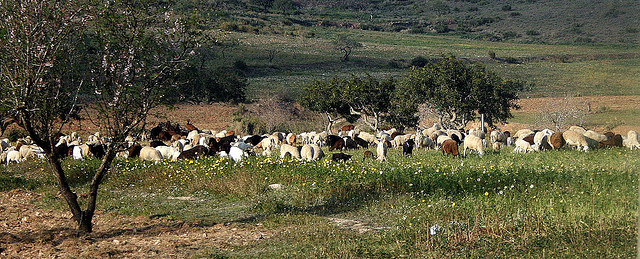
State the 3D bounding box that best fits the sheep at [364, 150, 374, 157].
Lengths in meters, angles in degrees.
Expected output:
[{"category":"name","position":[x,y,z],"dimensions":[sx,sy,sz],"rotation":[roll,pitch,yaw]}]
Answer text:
[{"category":"sheep","position":[11.261,5.514,176.691],"dimensions":[2.037,1.295,0.801],"rotation":[-1,1,1]}]
